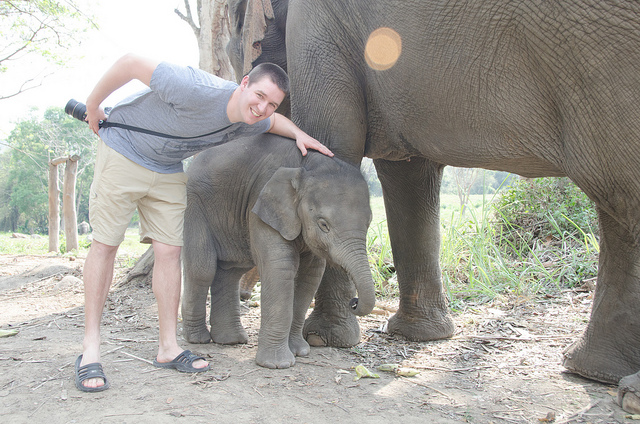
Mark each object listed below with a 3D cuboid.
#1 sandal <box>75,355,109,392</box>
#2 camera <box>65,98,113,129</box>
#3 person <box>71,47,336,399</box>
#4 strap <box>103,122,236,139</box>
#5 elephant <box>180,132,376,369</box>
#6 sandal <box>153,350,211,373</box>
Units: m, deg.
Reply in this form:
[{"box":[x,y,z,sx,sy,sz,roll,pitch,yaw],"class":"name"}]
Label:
[{"box":[-1.285,0.870,2.893,0.159,0.097,0.421,5,7,-33],"class":"sandal"},{"box":[-1.397,-0.592,3.113,0.246,0.166,0.374,-3,9,-27],"class":"camera"},{"box":[-0.811,-0.001,3.065,1.197,1.807,0.674,-1,8,-13],"class":"person"},{"box":[-0.908,-0.476,3.042,0.730,0.087,0.150,2,8,8],"class":"strap"},{"box":[-0.295,0.238,3.452,1.728,1.402,0.631,6,4,41],"class":"elephant"},{"box":[-0.821,0.859,3.030,0.363,0.099,0.111,3,8,17],"class":"sandal"}]
